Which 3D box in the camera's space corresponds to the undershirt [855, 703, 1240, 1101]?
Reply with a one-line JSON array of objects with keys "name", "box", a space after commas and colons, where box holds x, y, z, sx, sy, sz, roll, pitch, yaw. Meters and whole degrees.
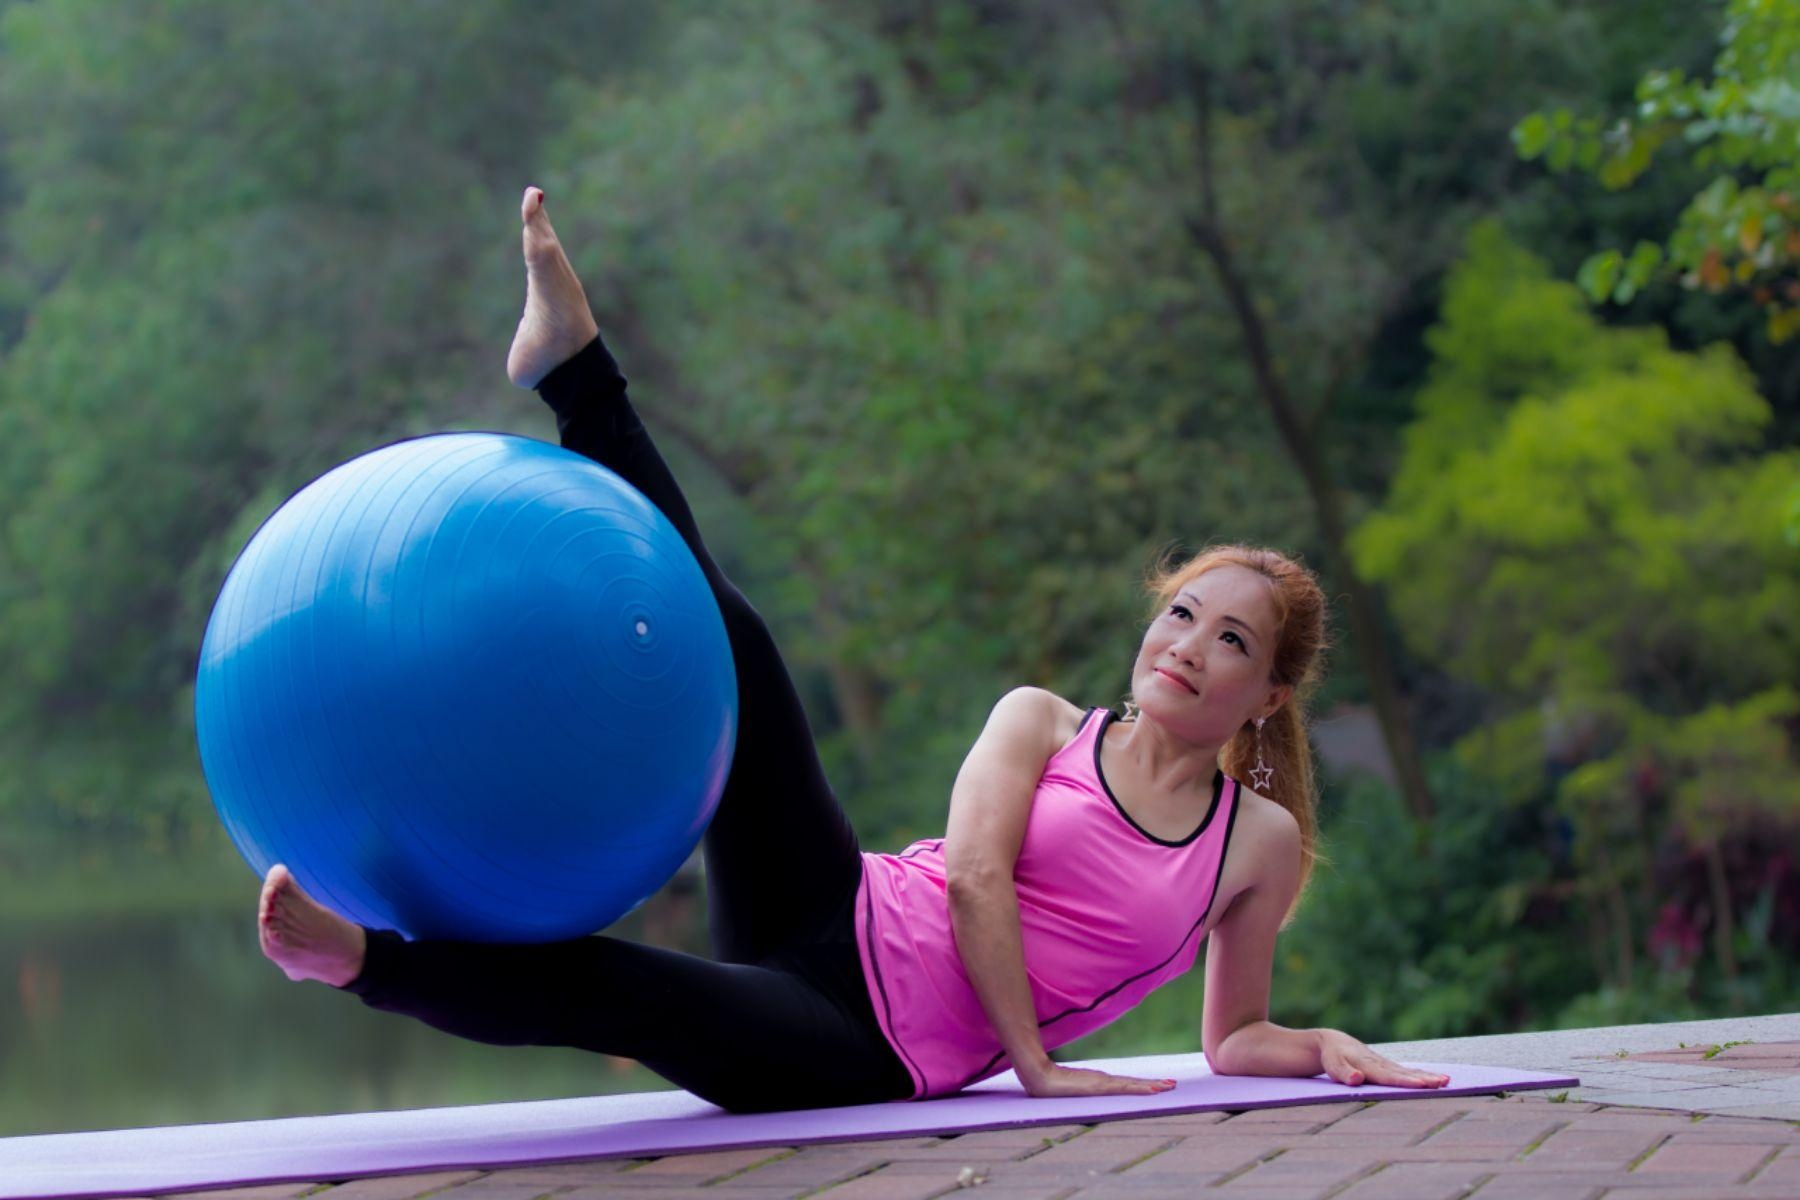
[{"name": "undershirt", "box": [0.434, 0.890, 7.540, 0.991, 0.777, 0.581, -22, -24, -2]}]
